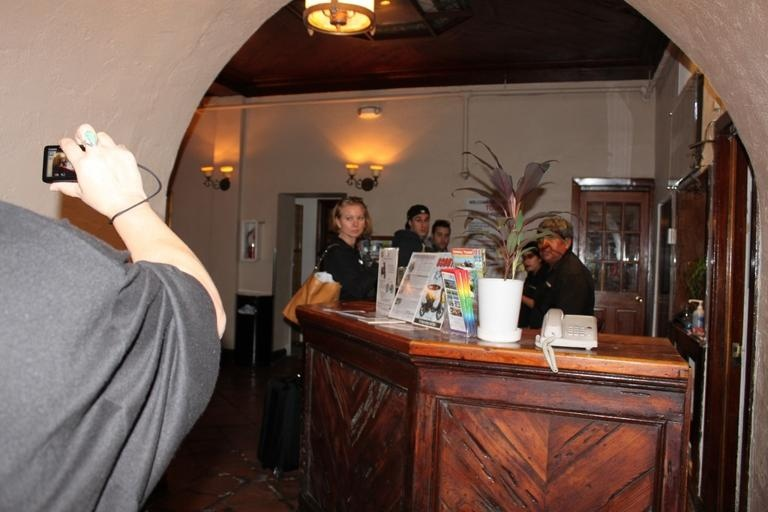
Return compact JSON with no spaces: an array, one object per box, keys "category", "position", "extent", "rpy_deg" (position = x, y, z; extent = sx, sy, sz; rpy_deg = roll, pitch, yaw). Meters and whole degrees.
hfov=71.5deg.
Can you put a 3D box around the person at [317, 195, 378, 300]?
[{"category":"person","position":[-0.243,-0.067,3.746],"extent":[0.419,0.730,0.497],"rpy_deg":[2,-2,-6]}]

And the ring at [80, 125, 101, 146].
[{"category":"ring","position":[-0.736,-0.306,1.326],"extent":[0.035,0.060,0.023],"rpy_deg":[-5,-21,-22]}]

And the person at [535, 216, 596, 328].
[{"category":"person","position":[1.371,0.174,4.080],"extent":[0.428,0.928,0.935],"rpy_deg":[3,7,11]}]

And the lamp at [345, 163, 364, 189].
[{"category":"lamp","position":[-0.439,-1.170,7.628],"extent":[0.248,0.366,0.276],"rpy_deg":[2,-2,-5]}]

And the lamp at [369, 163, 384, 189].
[{"category":"lamp","position":[-0.106,-1.142,7.515],"extent":[0.180,0.366,0.179],"rpy_deg":[2,-2,4]}]

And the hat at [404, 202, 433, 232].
[{"category":"hat","position":[0.358,-0.393,5.349],"extent":[0.263,0.283,0.285],"rpy_deg":[1,-2,-19]}]

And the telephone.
[{"category":"telephone","position":[0.705,0.314,2.083],"extent":[0.239,0.093,0.412],"rpy_deg":[6,23,31]}]
